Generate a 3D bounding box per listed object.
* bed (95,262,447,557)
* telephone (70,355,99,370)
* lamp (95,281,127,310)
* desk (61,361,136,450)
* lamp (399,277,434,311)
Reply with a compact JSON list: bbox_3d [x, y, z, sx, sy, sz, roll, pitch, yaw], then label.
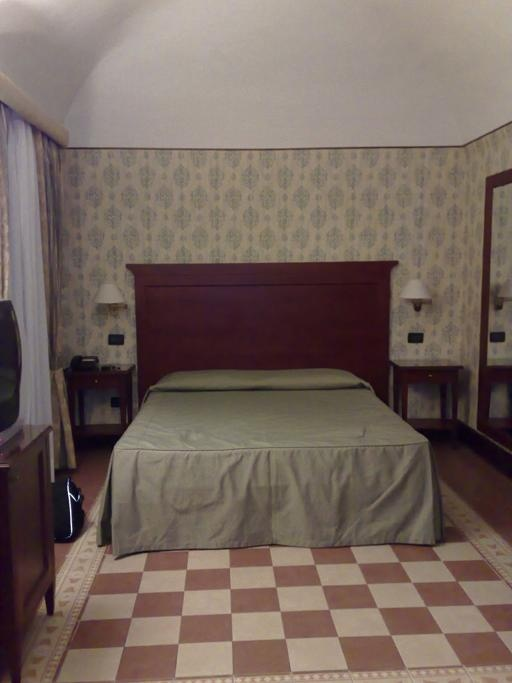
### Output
[{"bbox_3d":[-0.027,0.444,3.750,1.448,1.602,2.067,-1,5,-1],"label":"bed"},{"bbox_3d":[-1.406,0.183,4.406,0.212,0.103,0.237,-3,5,-25],"label":"telephone"},{"bbox_3d":[-1.224,-0.368,4.524,0.179,0.255,0.234,-2,-2,-2],"label":"lamp"},{"bbox_3d":[-1.203,0.452,4.541,0.570,0.983,0.547,-1,3,-5],"label":"desk"},{"bbox_3d":[1.389,-0.400,4.609,0.253,0.335,0.260,0,0,-5],"label":"lamp"}]
